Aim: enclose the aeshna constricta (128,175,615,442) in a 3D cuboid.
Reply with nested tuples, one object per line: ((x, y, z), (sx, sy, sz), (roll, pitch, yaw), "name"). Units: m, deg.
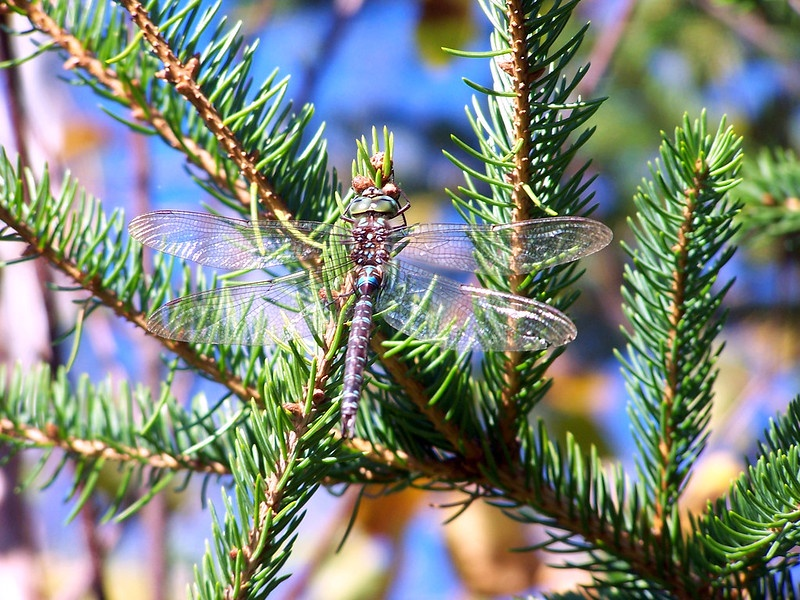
((-0.039, -0.020, 1.585), (0.681, 0.323, 0.442), (-8, 51, -18), "aeshna constricta")
